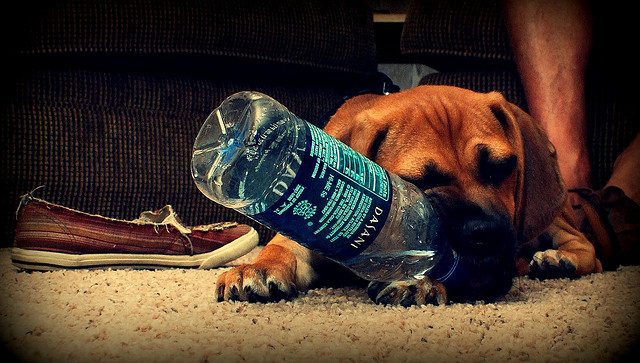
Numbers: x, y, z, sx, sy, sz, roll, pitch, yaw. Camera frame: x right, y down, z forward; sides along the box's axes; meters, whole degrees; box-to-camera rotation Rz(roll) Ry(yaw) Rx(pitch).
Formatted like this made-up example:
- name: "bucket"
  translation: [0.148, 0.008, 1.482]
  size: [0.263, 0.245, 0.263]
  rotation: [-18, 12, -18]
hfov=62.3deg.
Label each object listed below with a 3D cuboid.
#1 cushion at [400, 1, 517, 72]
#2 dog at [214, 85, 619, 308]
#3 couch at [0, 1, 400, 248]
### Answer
- name: "cushion"
  translation: [0.741, -0.755, 2.817]
  size: [0.471, 0.399, 0.459]
  rotation: [2, 5, 35]
- name: "dog"
  translation: [0.439, 0.086, 2.310]
  size: [1.015, 0.425, 1.250]
  rotation: [-3, -7, 9]
- name: "couch"
  translation: [-0.884, -0.476, 3.505]
  size: [2.594, 1.525, 1.389]
  rotation: [0, 2, -14]
